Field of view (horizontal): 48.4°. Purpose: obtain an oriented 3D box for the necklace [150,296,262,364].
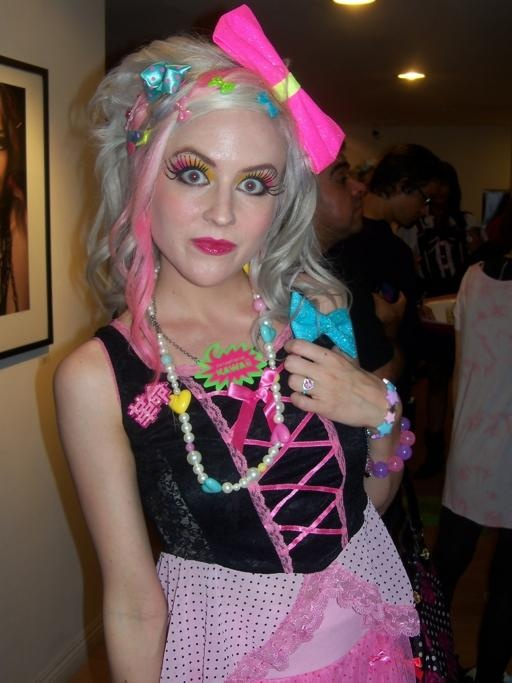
[{"bbox_3d":[-0.106,-0.008,0.976,0.036,0.149,0.114,-46,12,54],"label":"necklace"}]
